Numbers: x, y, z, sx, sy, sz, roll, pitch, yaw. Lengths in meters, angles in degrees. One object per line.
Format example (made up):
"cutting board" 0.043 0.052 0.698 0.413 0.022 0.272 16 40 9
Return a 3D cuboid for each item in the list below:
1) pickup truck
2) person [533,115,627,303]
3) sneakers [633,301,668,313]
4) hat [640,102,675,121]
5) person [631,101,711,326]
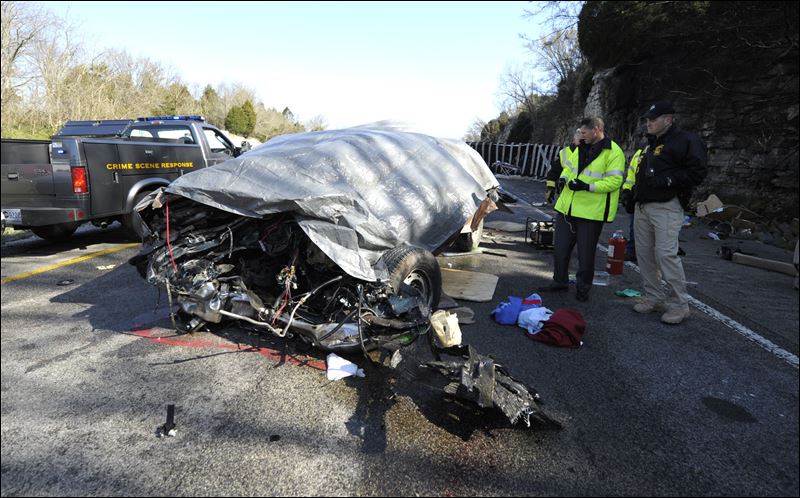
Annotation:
"pickup truck" -5.815 -1.417 8.695 2.443 2.504 3.138 5 13 18
"person" 2.722 -0.595 6.542 0.903 2.638 0.691 9 15 30
"sneakers" 3.470 0.806 6.220 0.470 0.189 0.171 3 15 6
"hat" 3.473 -1.862 5.921 0.392 0.181 0.261 10 25 17
"person" 3.580 -0.493 5.946 0.517 2.883 0.889 -8 16 -33
